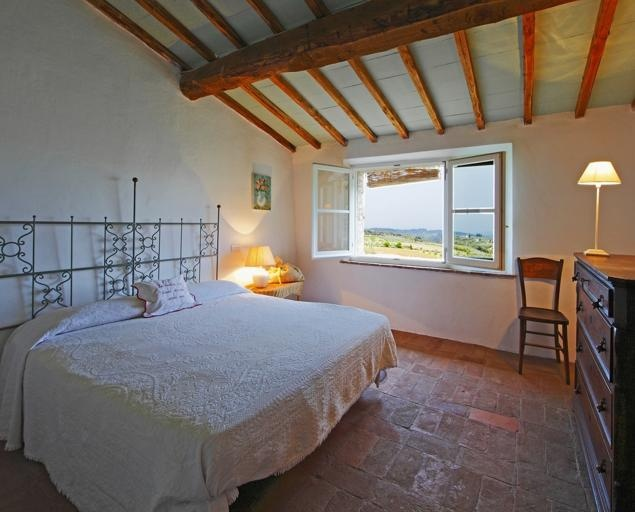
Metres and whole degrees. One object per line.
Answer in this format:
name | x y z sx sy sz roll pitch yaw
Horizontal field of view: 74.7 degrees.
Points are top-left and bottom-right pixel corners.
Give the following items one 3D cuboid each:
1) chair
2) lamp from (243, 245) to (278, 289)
chair | 2.149 0.571 3.974 0.562 1.053 0.677 8 16 25
lamp | -0.703 0.119 4.917 0.442 0.509 0.420 -6 9 -26
